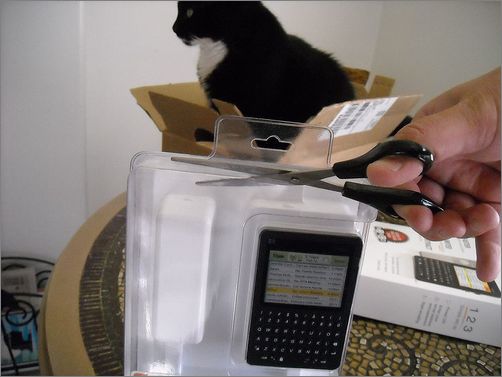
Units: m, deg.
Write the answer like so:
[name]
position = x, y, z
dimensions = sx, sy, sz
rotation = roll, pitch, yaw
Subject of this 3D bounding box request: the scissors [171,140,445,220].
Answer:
[scissors]
position = 0.133, -0.027, 1.138
dimensions = 0.544, 0.121, 0.190
rotation = 7, -25, 6
